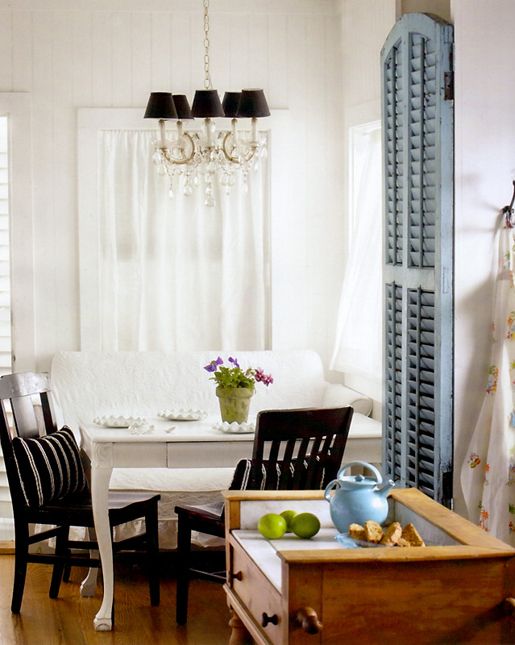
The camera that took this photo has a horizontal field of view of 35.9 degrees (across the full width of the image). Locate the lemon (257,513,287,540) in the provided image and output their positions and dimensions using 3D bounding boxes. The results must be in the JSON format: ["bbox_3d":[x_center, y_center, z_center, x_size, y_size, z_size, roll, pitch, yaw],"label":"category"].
[{"bbox_3d":[0.033,0.430,1.671,0.048,0.052,0.053,-3,33,-22],"label":"lemon"}]

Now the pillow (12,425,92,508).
[{"bbox_3d":[-0.792,0.559,3.031,0.099,0.244,0.310,-8,-5,16],"label":"pillow"}]

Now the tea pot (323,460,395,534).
[{"bbox_3d":[0.214,0.386,1.746,0.165,0.214,0.145,0,-9,0],"label":"tea pot"}]

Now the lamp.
[{"bbox_3d":[-0.253,-1.073,3.635,0.632,1.159,1.137,1,1,0],"label":"lamp"}]

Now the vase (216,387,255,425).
[{"bbox_3d":[-0.090,0.325,3.113,0.127,0.134,0.129,3,-1,-30],"label":"vase"}]
